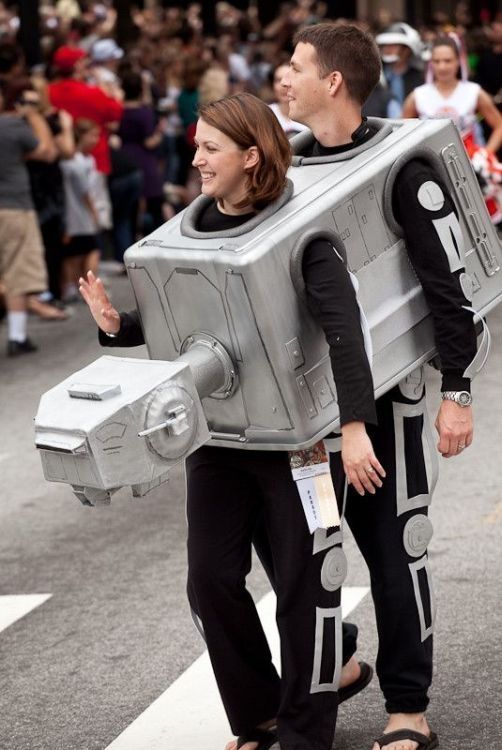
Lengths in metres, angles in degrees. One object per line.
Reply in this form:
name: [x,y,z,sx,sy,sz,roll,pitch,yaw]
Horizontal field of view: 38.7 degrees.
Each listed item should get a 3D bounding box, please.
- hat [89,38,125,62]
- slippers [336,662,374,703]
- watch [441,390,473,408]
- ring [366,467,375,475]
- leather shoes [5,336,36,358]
hat: [-1.003,-2.287,5.015,0.255,0.178,0.095,0,16,4]
slippers: [0.302,0.855,1.988,0.062,0.051,0.169,1,19,32]
watch: [0.464,0.057,1.572,0.059,0.033,0.054,1,-4,26]
ring: [0.223,0.179,1.333,0.012,0.006,0.016,-10,-22,-3]
leather shoes: [-2.308,-0.280,7.181,0.295,0.171,0.173,-8,8,-18]
